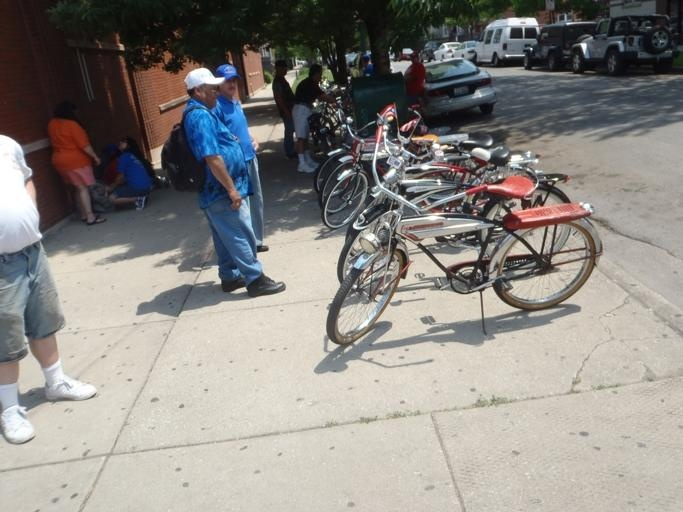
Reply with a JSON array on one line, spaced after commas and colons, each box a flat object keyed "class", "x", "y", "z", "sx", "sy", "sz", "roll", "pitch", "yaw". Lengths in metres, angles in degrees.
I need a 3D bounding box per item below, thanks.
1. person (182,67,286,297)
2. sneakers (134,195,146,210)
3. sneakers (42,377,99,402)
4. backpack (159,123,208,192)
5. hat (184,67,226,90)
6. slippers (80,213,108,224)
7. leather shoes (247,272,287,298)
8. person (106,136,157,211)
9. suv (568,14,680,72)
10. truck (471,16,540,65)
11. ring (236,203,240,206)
[{"class": "person", "x": -1.145, "y": -0.679, "z": 5.362, "sx": 0.572, "sy": 2.266, "sz": 0.589, "roll": -14, "pitch": 25, "yaw": -12}, {"class": "sneakers", "x": -3.475, "y": -0.925, "z": 9.302, "sx": 0.155, "sy": 0.225, "sz": 0.089, "roll": 5, "pitch": -9, "yaw": 24}, {"class": "sneakers", "x": -2.150, "y": 1.059, "z": 4.338, "sx": 0.456, "sy": 0.172, "sz": 0.165, "roll": 0, "pitch": 14, "yaw": -8}, {"class": "backpack", "x": -1.564, "y": -0.940, "z": 5.241, "sx": 0.312, "sy": 0.676, "sz": 0.420, "roll": -20, "pitch": 27, "yaw": -25}, {"class": "hat", "x": -1.325, "y": -1.706, "z": 5.142, "sx": 0.354, "sy": 0.153, "sz": 0.219, "roll": -16, "pitch": 30, "yaw": -8}, {"class": "slippers", "x": -4.063, "y": -0.606, "z": 8.812, "sx": 0.302, "sy": 0.074, "sz": 0.214, "roll": -4, "pitch": 20, "yaw": -20}, {"class": "leather shoes", "x": -0.812, "y": 0.310, "z": 5.612, "sx": 0.507, "sy": 0.239, "sz": 0.166, "roll": -7, "pitch": 22, "yaw": -15}, {"class": "person", "x": -3.640, "y": -1.420, "z": 9.257, "sx": 0.532, "sy": 1.173, "sz": 0.734, "roll": 7, "pitch": 28, "yaw": 30}, {"class": "suv", "x": 10.451, "y": -7.887, "z": 20.059, "sx": 1.417, "sy": 1.987, "sz": 3.731, "roll": -11, "pitch": 23, "yaw": -9}, {"class": "truck", "x": 9.569, "y": -12.635, "z": 31.062, "sx": 2.556, "sy": 2.008, "sz": 4.179, "roll": -9, "pitch": 37, "yaw": 1}, {"class": "ring", "x": -1.006, "y": -0.504, "z": 5.221, "sx": 0.024, "sy": 0.015, "sz": 0.024, "roll": -7, "pitch": 31, "yaw": 4}]
